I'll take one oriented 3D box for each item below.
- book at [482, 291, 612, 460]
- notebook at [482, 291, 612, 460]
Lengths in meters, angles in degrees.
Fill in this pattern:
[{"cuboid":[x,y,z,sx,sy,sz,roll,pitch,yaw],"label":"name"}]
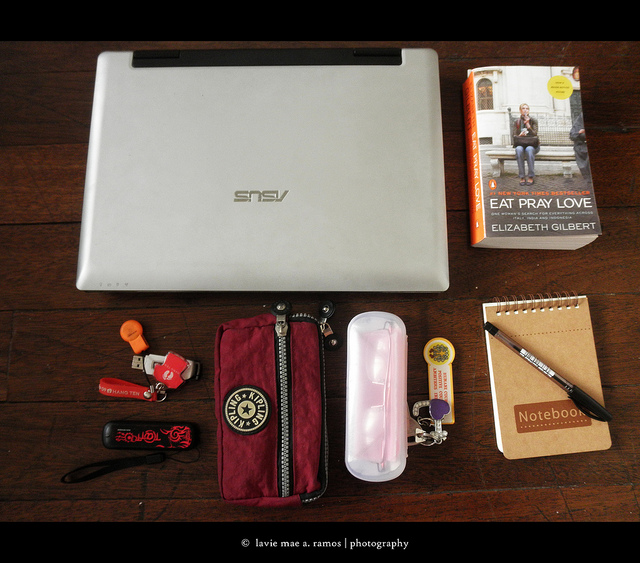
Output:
[{"cuboid":[0.515,0.207,1.512,0.264,0.087,0.360,-5,83,1],"label":"book"},{"cuboid":[0.505,0.209,1.499,0.275,0.079,0.341,1,74,-10],"label":"notebook"}]
